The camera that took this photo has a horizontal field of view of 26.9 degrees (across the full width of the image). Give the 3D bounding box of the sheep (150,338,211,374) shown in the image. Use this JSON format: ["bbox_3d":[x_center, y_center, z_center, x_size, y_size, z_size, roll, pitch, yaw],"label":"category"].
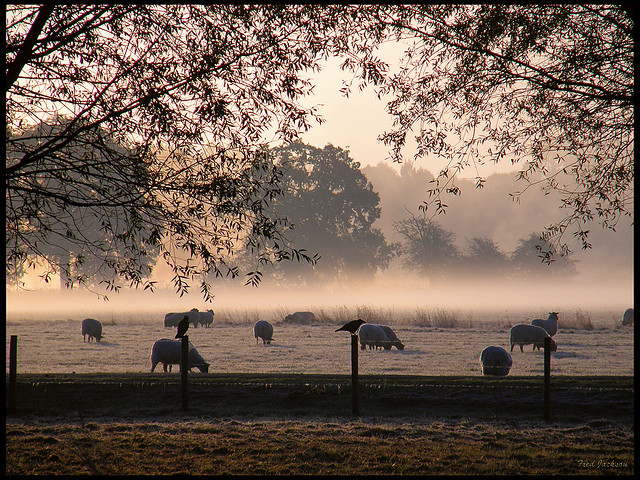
[{"bbox_3d":[-6.315,5.023,57.866,2.146,1.606,2.938,3,-10,-25],"label":"sheep"}]

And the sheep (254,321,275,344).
[{"bbox_3d":[-3.023,4.862,70.236,0.915,1.349,1.728,0,-9,-4],"label":"sheep"}]

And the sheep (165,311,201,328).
[{"bbox_3d":[-8.203,4.645,79.360,1.172,1.028,3.263,-4,-10,18],"label":"sheep"}]

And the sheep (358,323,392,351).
[{"bbox_3d":[2.708,4.911,67.473,1.629,1.352,0.730,-2,-9,3],"label":"sheep"}]

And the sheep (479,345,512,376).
[{"bbox_3d":[7.518,5.157,57.268,1.198,1.240,0.583,0,-9,-9],"label":"sheep"}]

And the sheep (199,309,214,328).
[{"bbox_3d":[-7.043,4.822,81.563,0.809,1.129,1.691,0,-9,-4],"label":"sheep"}]

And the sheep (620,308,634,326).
[{"bbox_3d":[18.458,4.621,80.075,0.568,0.971,1.591,-4,-10,16],"label":"sheep"}]

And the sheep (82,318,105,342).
[{"bbox_3d":[-12.124,4.786,70.355,0.959,1.270,1.356,1,-9,-12],"label":"sheep"}]
